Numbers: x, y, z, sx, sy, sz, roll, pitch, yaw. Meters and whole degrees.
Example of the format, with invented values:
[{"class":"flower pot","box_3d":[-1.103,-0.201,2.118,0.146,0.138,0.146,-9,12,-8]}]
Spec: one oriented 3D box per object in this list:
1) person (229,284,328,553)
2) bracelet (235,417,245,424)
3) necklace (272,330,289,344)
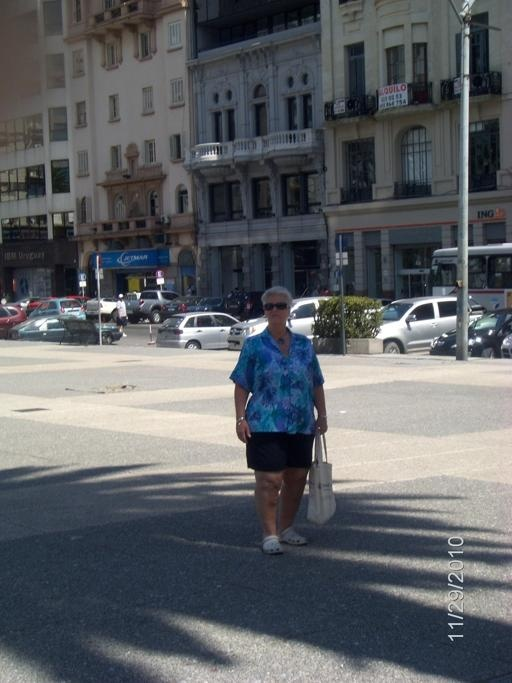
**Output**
[{"class":"person","box_3d":[0.136,0.472,5.760,0.570,1.587,0.342,-1,2,-7]},{"class":"bracelet","box_3d":[-0.099,0.469,5.686,0.029,0.024,0.040,-7,0,-42]},{"class":"necklace","box_3d":[0.153,-0.020,5.731,0.064,0.102,0.035,-9,-18,-12]}]
